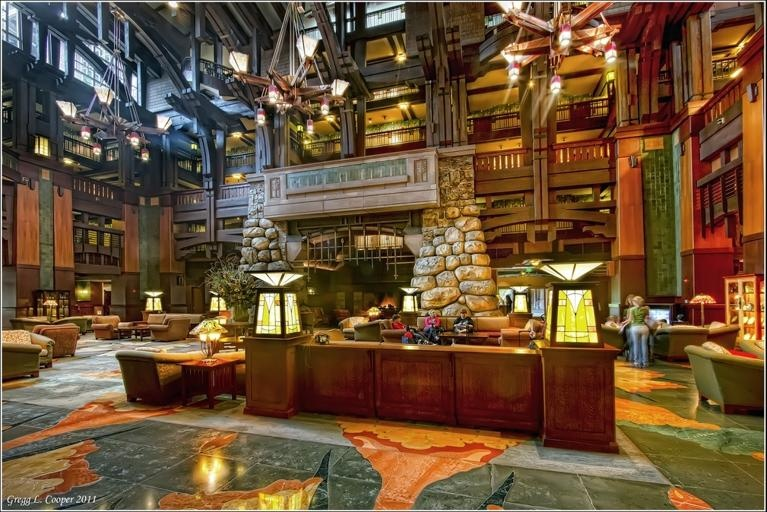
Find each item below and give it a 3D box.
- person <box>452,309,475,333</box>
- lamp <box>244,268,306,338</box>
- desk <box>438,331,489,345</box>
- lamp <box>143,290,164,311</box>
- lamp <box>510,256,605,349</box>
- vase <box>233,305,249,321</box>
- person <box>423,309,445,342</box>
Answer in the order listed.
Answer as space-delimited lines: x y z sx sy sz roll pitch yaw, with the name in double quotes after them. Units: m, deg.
2.286 1.957 16.316 0.652 0.561 0.889 1 13 11 "person"
-2.722 1.237 13.536 1.504 2.019 1.524 -7 -11 40 "lamp"
2.349 2.416 16.291 1.453 0.366 1.020 -2 -7 -3 "desk"
-9.980 1.967 23.899 0.885 0.856 0.876 1 -5 16 "lamp"
4.004 1.208 12.859 1.692 2.233 1.648 2 -10 9 "lamp"
-4.631 1.860 17.888 0.529 0.363 0.510 2 -8 -3 "vase"
1.453 2.053 16.269 0.485 0.731 1.393 -1 8 3 "person"
